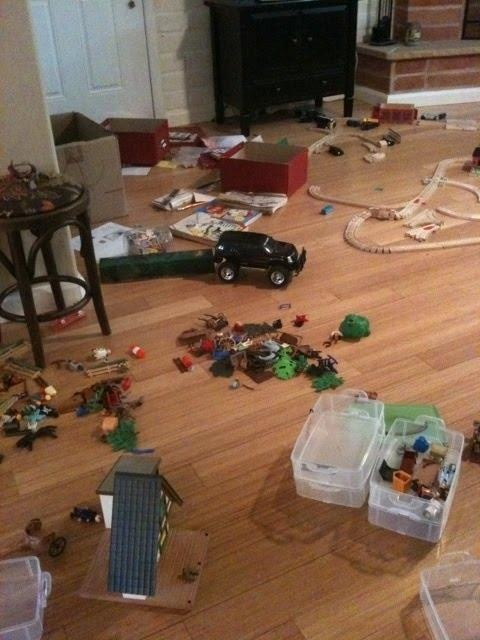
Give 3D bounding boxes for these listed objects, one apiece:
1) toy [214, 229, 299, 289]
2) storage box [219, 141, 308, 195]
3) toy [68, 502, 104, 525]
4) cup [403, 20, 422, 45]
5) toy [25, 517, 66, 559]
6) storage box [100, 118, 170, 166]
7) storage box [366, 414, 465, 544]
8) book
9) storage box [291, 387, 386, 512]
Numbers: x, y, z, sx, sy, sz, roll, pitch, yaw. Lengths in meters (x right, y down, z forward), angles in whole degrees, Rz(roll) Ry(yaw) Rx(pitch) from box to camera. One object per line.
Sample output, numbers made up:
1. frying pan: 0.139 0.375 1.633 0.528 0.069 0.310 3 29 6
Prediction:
1. toy: 0.079 -0.268 2.394 0.384 0.171 0.221 8 43 13
2. storage box: 0.149 -0.895 3.069 0.437 0.242 0.429 9 29 16
3. toy: -0.387 0.484 1.283 0.066 0.025 0.042 14 43 -25
4. cup: 1.571 -2.602 4.684 0.136 0.177 0.128 -3 30 1
5. toy: -0.470 0.526 1.227 0.100 0.028 0.059 24 62 24
6. storage box: -0.687 -1.250 3.680 0.487 0.275 0.441 1 30 2
7. storage box: 0.449 0.371 1.296 0.196 0.107 0.299 15 43 21
8. book: -0.140 -0.534 2.845 0.321 0.045 0.343 18 43 24
9. storage box: 0.279 0.324 1.416 0.218 0.113 0.318 9 36 21
